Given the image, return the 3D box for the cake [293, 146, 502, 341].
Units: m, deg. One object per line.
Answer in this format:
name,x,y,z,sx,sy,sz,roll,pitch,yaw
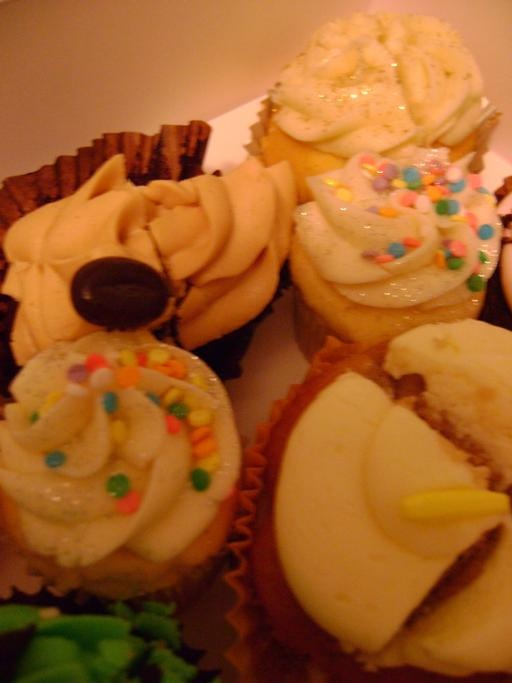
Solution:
cake,0.264,-0.176,1.246,0.397,0.240,0.337,2,42,2
